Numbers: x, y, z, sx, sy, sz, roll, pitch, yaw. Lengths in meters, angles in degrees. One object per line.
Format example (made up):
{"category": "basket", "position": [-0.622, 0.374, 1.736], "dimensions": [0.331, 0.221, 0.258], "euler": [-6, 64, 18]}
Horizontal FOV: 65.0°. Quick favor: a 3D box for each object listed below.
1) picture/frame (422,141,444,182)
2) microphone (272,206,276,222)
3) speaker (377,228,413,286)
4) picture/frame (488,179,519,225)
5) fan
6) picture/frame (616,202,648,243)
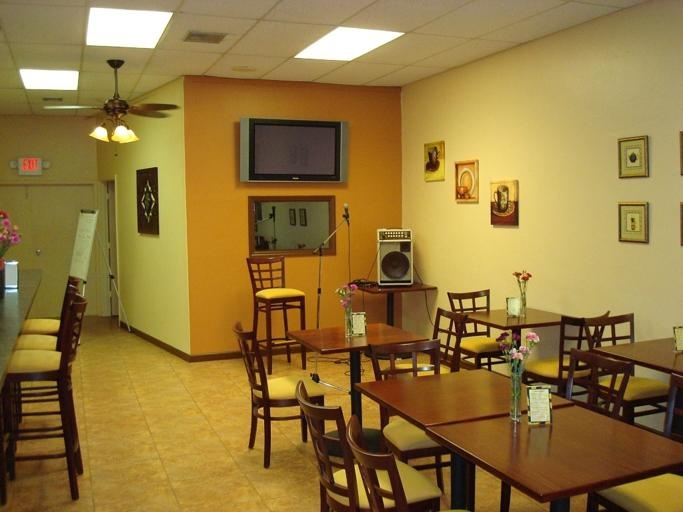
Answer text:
{"category": "picture/frame", "position": [1.186, -1.187, 6.778], "dimensions": [0.078, 0.490, 0.389], "euler": [-3, 7, -21]}
{"category": "microphone", "position": [-0.889, -0.555, 7.052], "dimensions": [0.049, 0.201, 0.012], "euler": [-2, 7, -13]}
{"category": "speaker", "position": [0.716, 0.032, 6.853], "dimensions": [0.577, 0.729, 0.605], "euler": [-1, -3, -10]}
{"category": "picture/frame", "position": [1.770, -0.558, 5.760], "dimensions": [0.039, 0.497, 0.410], "euler": [-4, 7, -28]}
{"category": "fan", "position": [-2.306, -1.727, 5.611], "dimensions": [0.944, 0.631, 1.353], "euler": [8, 13, 43]}
{"category": "picture/frame", "position": [2.440, -0.279, 4.474], "dimensions": [0.281, 0.337, 0.031], "euler": [0, -2, -10]}
